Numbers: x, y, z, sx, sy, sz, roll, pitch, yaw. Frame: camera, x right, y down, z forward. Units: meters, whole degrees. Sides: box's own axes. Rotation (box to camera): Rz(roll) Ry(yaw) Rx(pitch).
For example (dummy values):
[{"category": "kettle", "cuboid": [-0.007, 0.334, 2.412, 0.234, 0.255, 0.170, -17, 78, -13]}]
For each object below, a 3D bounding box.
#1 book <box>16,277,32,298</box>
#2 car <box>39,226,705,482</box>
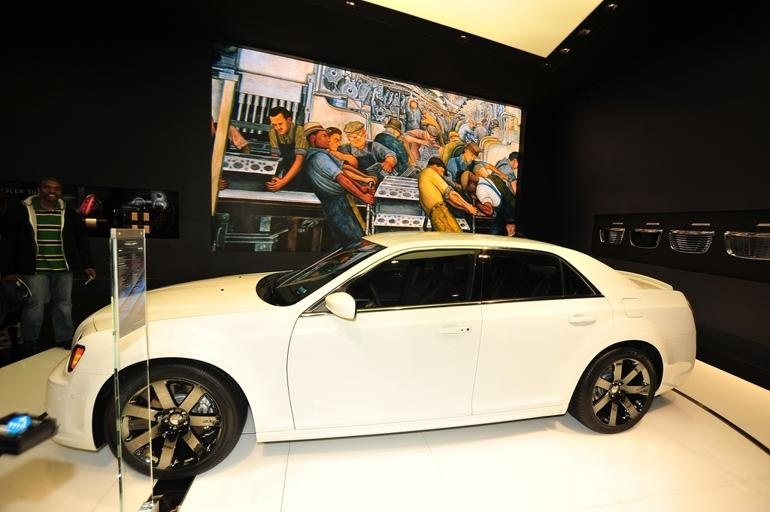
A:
[{"category": "book", "cuboid": [-4.701, 0.404, 6.035, 0.214, 0.066, 0.216, 4, 41, -49]}, {"category": "car", "cuboid": [-0.014, 0.984, 5.323, 6.050, 1.846, 2.556, 2, 1, -11]}]
